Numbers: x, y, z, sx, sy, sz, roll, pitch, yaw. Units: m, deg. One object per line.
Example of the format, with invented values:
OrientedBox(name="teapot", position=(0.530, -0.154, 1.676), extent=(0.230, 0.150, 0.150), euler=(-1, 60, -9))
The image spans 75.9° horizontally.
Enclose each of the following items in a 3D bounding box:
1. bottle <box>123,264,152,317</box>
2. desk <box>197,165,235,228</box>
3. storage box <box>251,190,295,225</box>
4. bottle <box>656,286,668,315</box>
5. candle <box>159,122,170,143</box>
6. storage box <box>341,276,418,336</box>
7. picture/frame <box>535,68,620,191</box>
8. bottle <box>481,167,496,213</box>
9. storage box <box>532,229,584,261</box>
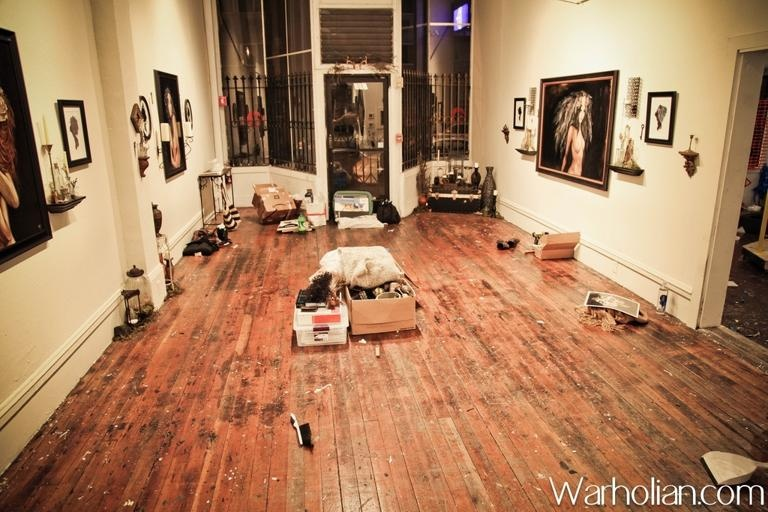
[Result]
OrientedBox(name="bottle", position=(-2.856, 0.443, 5.711), extent=(0.287, 0.498, 0.229), euler=(-14, 24, -27))
OrientedBox(name="desk", position=(-3.230, -1.122, 9.344), extent=(0.371, 0.926, 1.031), euler=(-4, 31, -6))
OrientedBox(name="storage box", position=(-2.082, -0.968, 9.464), extent=(0.741, 0.524, 0.728), euler=(-9, 23, -16))
OrientedBox(name="bottle", position=(3.246, 0.486, 5.728), extent=(0.113, 0.312, 0.219), euler=(9, 24, 26))
OrientedBox(name="candle", position=(-3.168, -1.795, 7.146), extent=(0.082, 0.285, 0.363), euler=(-6, 22, -8))
OrientedBox(name="storage box", position=(-0.022, 0.577, 5.536), extent=(0.560, 0.315, 0.574), euler=(-4, 24, -4))
OrientedBox(name="picture/frame", position=(2.778, -1.854, 7.147), extent=(1.477, 1.527, 0.092), euler=(-4, 10, -24))
OrientedBox(name="bottle", position=(2.071, -1.287, 9.733), extent=(0.287, 0.887, 0.349), euler=(2, 22, 10))
OrientedBox(name="storage box", position=(2.572, -0.147, 7.228), extent=(0.438, 0.365, 0.438), euler=(-2, 23, -2))
